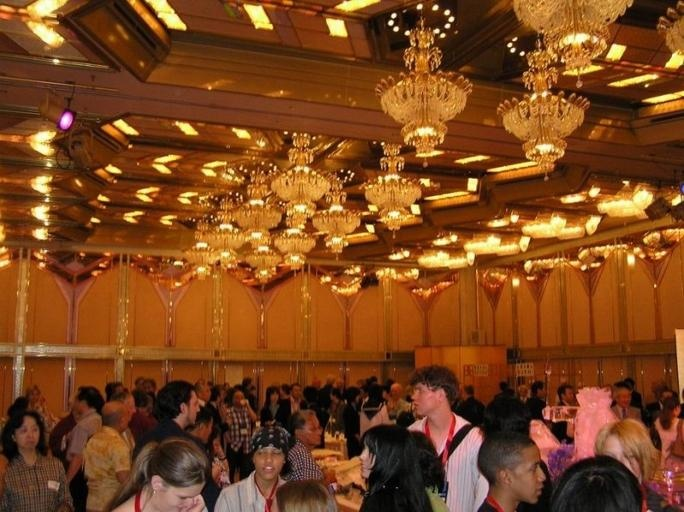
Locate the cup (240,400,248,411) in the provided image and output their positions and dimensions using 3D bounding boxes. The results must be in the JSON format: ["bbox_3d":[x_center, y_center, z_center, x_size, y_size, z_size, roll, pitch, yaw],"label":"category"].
[{"bbox_3d":[-1.702,2.612,10.177,0.084,0.141,0.147,0,-28,-2],"label":"cup"}]

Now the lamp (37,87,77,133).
[{"bbox_3d":[-3.855,-2.014,7.873,0.319,0.291,0.554,-8,-1,14],"label":"lamp"}]

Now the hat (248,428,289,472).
[{"bbox_3d":[-0.450,1.189,3.590,0.182,0.232,0.241,8,-12,-11],"label":"hat"}]
